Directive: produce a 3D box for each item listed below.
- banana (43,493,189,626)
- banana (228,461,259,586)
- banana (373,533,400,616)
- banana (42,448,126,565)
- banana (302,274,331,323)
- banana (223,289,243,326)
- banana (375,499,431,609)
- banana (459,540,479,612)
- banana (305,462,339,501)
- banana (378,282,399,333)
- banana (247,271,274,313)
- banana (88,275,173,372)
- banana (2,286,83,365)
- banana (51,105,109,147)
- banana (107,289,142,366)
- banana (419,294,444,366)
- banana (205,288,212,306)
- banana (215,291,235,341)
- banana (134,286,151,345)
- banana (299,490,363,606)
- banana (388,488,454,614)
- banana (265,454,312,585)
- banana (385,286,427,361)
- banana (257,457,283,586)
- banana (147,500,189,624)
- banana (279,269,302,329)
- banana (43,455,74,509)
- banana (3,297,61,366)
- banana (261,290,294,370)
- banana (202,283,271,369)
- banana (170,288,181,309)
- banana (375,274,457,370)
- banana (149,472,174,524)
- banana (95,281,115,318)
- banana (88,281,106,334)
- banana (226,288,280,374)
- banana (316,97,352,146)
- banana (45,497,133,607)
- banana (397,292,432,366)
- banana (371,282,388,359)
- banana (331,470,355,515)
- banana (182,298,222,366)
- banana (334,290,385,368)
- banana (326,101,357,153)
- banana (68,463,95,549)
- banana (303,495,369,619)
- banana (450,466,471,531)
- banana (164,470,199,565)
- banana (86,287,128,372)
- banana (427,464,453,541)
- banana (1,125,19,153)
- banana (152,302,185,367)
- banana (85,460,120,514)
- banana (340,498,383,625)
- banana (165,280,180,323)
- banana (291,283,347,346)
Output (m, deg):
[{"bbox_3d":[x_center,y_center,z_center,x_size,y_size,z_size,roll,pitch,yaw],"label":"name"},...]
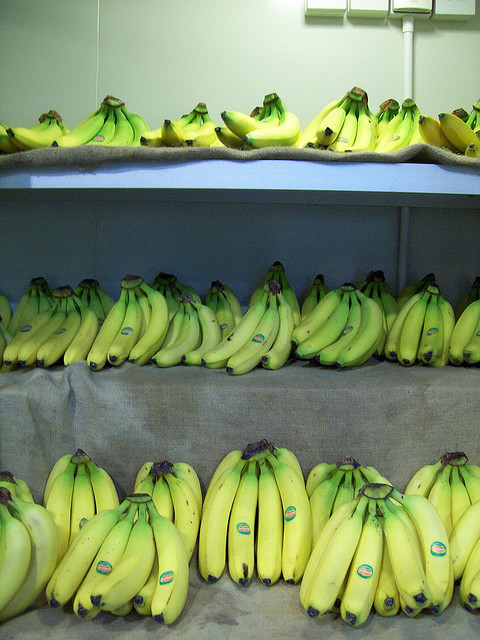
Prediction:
[{"bbox_3d":[-0.227,0.461,1.079,0.177,0.092,0.251,9,39,9],"label":"banana"},{"bbox_3d":[0.023,0.429,1.222,0.040,0.242,0.081,13,-36,-13],"label":"banana"},{"bbox_3d":[0.284,0.508,1.110,0.037,0.169,0.048,-9,-23,32],"label":"banana"},{"bbox_3d":[-0.350,0.422,1.314,0.128,0.249,0.108,-7,-45,11],"label":"banana"},{"bbox_3d":[0.271,-0.083,2.037,0.043,0.174,0.090,6,-31,37],"label":"banana"},{"bbox_3d":[-0.013,-0.049,1.969,0.035,0.165,0.054,-19,-1,21],"label":"banana"},{"bbox_3d":[0.309,0.453,1.113,0.058,0.186,0.046,-40,-44,25],"label":"banana"},{"bbox_3d":[0.452,0.504,1.119,0.036,0.129,0.035,21,-24,-3],"label":"banana"},{"bbox_3d":[0.191,0.379,1.340,0.020,0.083,0.061,32,-46,-5],"label":"banana"},{"bbox_3d":[0.493,-0.045,1.888,0.037,0.184,0.063,-15,-48,7],"label":"banana"},{"bbox_3d":[0.071,-0.099,1.921,0.038,0.159,0.050,28,3,21],"label":"banana"},{"bbox_3d":[-0.307,0.024,1.626,0.205,0.164,0.373,6,35,3],"label":"banana"},{"bbox_3d":[-0.545,0.030,1.619,0.136,0.117,0.267,5,28,13],"label":"banana"},{"bbox_3d":[-0.458,-0.548,1.633,0.184,0.097,0.051,-14,-5,20],"label":"banana"},{"bbox_3d":[-0.326,-0.001,1.616,0.045,0.246,0.077,-19,-35,27],"label":"banana"},{"bbox_3d":[0.557,0.039,1.639,0.045,0.221,0.069,9,-28,8],"label":"banana"},{"bbox_3d":[-0.108,-0.082,1.972,0.015,0.067,0.021,11,-10,-18],"label":"banana"},{"bbox_3d":[-0.048,-0.010,1.870,0.042,0.180,0.059,-17,-37,16],"label":"banana"},{"bbox_3d":[-0.287,-0.029,1.668,0.055,0.193,0.039,6,-22,-12],"label":"banana"},{"bbox_3d":[0.179,0.456,1.116,0.061,0.205,0.041,28,-18,-4],"label":"banana"},{"bbox_3d":[0.379,0.465,1.157,0.099,0.098,0.297,-11,25,12],"label":"banana"},{"bbox_3d":[0.118,0.422,1.232,0.076,0.293,0.071,-10,-44,5],"label":"banana"},{"bbox_3d":[0.502,0.018,1.718,0.068,0.235,0.044,20,-10,-12],"label":"banana"},{"bbox_3d":[0.078,0.427,1.192,0.038,0.226,0.075,10,-27,-11],"label":"banana"},{"bbox_3d":[-0.146,0.469,1.119,0.081,0.084,0.244,0,31,-13],"label":"banana"},{"bbox_3d":[0.171,-0.070,1.901,0.046,0.235,0.080,0,-36,-11],"label":"banana"},{"bbox_3d":[-0.413,0.372,1.295,0.030,0.130,0.040,19,-21,-4],"label":"banana"},{"bbox_3d":[-0.603,0.039,1.652,0.033,0.215,0.075,12,-38,12],"label":"banana"},{"bbox_3d":[0.123,0.050,1.633,0.056,0.263,0.128,-10,-39,31],"label":"banana"},{"bbox_3d":[-0.003,0.032,1.634,0.059,0.134,0.296,28,55,36],"label":"banana"},{"bbox_3d":[-0.212,-0.068,1.871,0.014,0.071,0.023,-19,-10,20],"label":"banana"},{"bbox_3d":[0.525,0.040,1.674,0.158,0.358,0.120,2,-24,39],"label":"banana"},{"bbox_3d":[-0.169,0.391,1.247,0.031,0.137,0.047,-4,-34,-6],"label":"banana"},{"bbox_3d":[-0.450,-0.058,1.935,0.034,0.162,0.053,-17,-14,4],"label":"banana"},{"bbox_3d":[-0.458,-0.034,1.805,0.031,0.160,0.049,-12,-20,8],"label":"banana"},{"bbox_3d":[0.052,0.047,1.603,0.059,0.147,0.284,10,39,34],"label":"banana"},{"bbox_3d":[0.262,-0.566,1.598,0.084,0.144,0.216,2,9,18],"label":"banana"},{"bbox_3d":[-0.296,0.460,1.105,0.045,0.217,0.081,7,-42,34],"label":"banana"},{"bbox_3d":[0.518,0.009,1.700,0.052,0.238,0.084,11,-32,28],"label":"banana"},{"bbox_3d":[0.449,-0.012,1.830,0.074,0.255,0.046,19,-29,-27],"label":"banana"},{"bbox_3d":[0.234,0.384,1.266,0.027,0.125,0.042,5,-31,3],"label":"banana"},{"bbox_3d":[-0.114,0.064,1.686,0.124,0.275,0.076,8,-32,-5],"label":"banana"},{"bbox_3d":[0.351,0.044,1.636,0.096,0.223,0.076,16,-35,31],"label":"banana"},{"bbox_3d":[0.309,-0.591,1.715,0.051,0.079,0.215,24,-5,1],"label":"banana"},{"bbox_3d":[-0.349,0.414,1.259,0.036,0.162,0.047,7,-23,-14],"label":"banana"},{"bbox_3d":[0.216,0.437,1.135,0.067,0.281,0.071,34,-23,-2],"label":"banana"},{"bbox_3d":[0.494,0.394,1.277,0.029,0.146,0.046,9,-20,-3],"label":"banana"},{"bbox_3d":[-0.132,0.411,1.277,0.050,0.231,0.079,-15,-30,5],"label":"banana"},{"bbox_3d":[-0.375,0.040,1.604,0.055,0.331,0.105,4,-33,3],"label":"banana"},{"bbox_3d":[0.447,0.406,1.307,0.036,0.181,0.055,-19,-32,36],"label":"banana"},{"bbox_3d":[-0.627,-0.473,1.535,0.024,0.032,0.095,-27,-20,-10],"label":"banana"},{"bbox_3d":[-0.210,0.044,1.742,0.073,0.254,0.048,18,-15,-3],"label":"banana"},{"bbox_3d":[-0.318,0.383,1.297,0.031,0.114,0.074,-16,-11,-17],"label":"banana"},{"bbox_3d":[0.235,0.472,1.116,0.054,0.236,0.078,-10,-36,41],"label":"banana"},{"bbox_3d":[-0.224,-0.070,1.867,0.039,0.210,0.068,0,-25,-7],"label":"banana"},{"bbox_3d":[0.245,-0.011,1.746,0.070,0.218,0.047,20,-34,31],"label":"banana"}]
